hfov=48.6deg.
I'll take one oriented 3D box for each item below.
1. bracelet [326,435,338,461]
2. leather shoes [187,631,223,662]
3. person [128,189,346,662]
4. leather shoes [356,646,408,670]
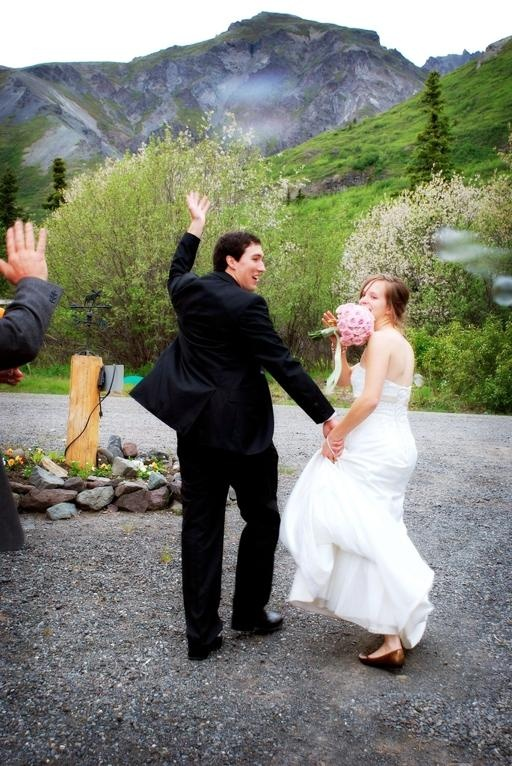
[{"bbox_3d":[0.411,0.349,3.051,0.054,0.120,0.089,-7,18,1],"label":"bracelet"},{"bbox_3d":[-0.261,1.333,2.898,0.072,0.094,0.218,-2,0,30],"label":"leather shoes"},{"bbox_3d":[-0.171,0.419,2.910,0.879,1.962,0.465,2,6,-12],"label":"person"},{"bbox_3d":[0.636,1.368,2.859,0.244,0.096,0.087,3,-4,15],"label":"leather shoes"}]
